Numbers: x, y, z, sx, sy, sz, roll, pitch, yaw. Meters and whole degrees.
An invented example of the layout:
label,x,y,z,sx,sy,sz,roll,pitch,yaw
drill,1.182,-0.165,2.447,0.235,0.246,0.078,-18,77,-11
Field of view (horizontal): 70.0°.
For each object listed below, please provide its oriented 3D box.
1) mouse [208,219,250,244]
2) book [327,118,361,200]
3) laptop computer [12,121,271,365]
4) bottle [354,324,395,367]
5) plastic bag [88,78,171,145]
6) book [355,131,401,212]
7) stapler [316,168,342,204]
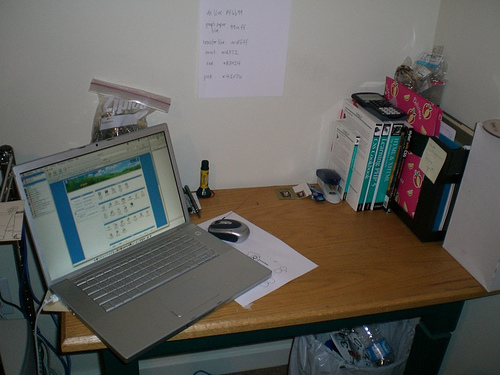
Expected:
label,x,y,z,sx,sy,sz,roll,pitch,yaw
mouse,-0.072,0.149,1.272,0.121,0.046,0.077,13,32,2
book,0.402,-0.116,1.492,0.027,0.287,0.227,-2,35,-14
laptop computer,-0.308,0.114,1.036,0.464,0.452,0.506,19,33,40
bottle,0.516,0.622,1.423,0.142,0.110,0.131,-3,25,2
plastic bag,-0.440,-0.275,1.271,0.223,0.196,0.062,15,-3,-9
book,0.514,-0.078,1.428,0.121,0.234,0.234,6,25,0
stapler,0.337,-0.011,1.535,0.063,0.066,0.174,-5,35,-3
